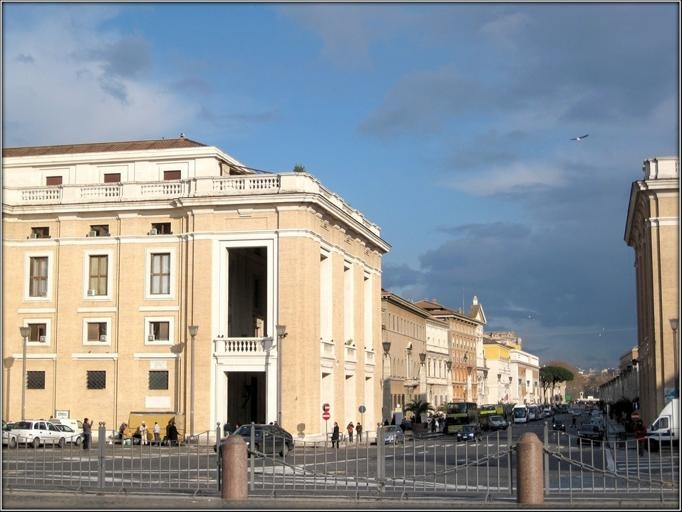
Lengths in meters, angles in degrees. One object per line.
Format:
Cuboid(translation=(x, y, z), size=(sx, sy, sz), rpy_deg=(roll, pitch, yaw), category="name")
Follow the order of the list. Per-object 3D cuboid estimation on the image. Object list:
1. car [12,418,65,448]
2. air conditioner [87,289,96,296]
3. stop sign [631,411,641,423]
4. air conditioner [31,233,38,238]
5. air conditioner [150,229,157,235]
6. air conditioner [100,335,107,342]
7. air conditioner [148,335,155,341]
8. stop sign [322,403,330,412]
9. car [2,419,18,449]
Cuboid(translation=(-18.058, 10.662, 90.255), size=(3.046, 2.317, 8.184), rpy_deg=(3, -13, -13), category="car")
Cuboid(translation=(-16.489, 2.519, 101.488), size=(0.500, 0.396, 0.190), rpy_deg=(3, -13, -14), category="air conditioner")
Cuboid(translation=(19.382, 10.580, 97.611), size=(0.311, 0.647, 0.890), rpy_deg=(-1, 8, 1), category="stop sign")
Cuboid(translation=(-20.612, -1.336, 102.449), size=(0.344, 0.346, 0.248), rpy_deg=(0, -2, 2), category="air conditioner")
Cuboid(translation=(-12.335, -1.623, 101.184), size=(0.408, 0.533, 0.321), rpy_deg=(2, -13, -9), category="air conditioner")
Cuboid(translation=(-15.617, 5.608, 100.791), size=(0.382, 0.403, 0.411), rpy_deg=(-1, -6, 1), category="air conditioner")
Cuboid(translation=(-12.291, 5.568, 100.069), size=(0.318, 0.318, 0.311), rpy_deg=(1, -4, -25), category="air conditioner")
Cuboid(translation=(-0.752, 9.974, 97.549), size=(0.367, 0.700, 0.622), rpy_deg=(0, -30, 11), category="stop sign")
Cuboid(translation=(-19.825, 10.949, 91.180), size=(0.782, 1.798, 3.019), rpy_deg=(3, -13, -12), category="car")
